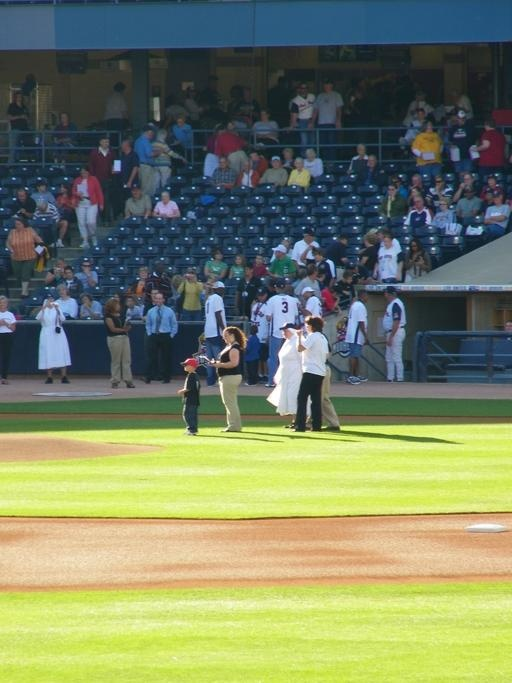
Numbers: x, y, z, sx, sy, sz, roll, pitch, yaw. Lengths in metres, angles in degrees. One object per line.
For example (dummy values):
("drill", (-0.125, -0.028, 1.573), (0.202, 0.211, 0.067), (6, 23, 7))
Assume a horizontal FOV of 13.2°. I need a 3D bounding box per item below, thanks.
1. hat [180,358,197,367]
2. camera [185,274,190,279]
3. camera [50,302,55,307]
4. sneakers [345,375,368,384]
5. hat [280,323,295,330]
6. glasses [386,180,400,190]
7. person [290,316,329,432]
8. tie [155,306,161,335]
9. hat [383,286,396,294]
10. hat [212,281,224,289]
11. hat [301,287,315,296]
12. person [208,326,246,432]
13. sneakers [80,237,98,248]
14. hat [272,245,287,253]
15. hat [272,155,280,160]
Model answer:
("hat", (-0.973, 0.319, 32.799), (0.199, 0.120, 0.141), (20, 25, 8))
("camera", (-1.230, -1.212, 40.669), (0.024, 0.092, 0.062), (-4, -1, -44))
("camera", (-3.626, -0.690, 40.005), (0.065, 0.069, 0.017), (13, -4, -19))
("sneakers", (1.801, 0.673, 39.932), (0.356, 0.169, 0.138), (0, 34, -6))
("hat", (0.503, -0.246, 33.407), (0.143, 0.083, 0.105), (3, 4, -4))
("glasses", (2.631, -3.022, 42.793), (0.153, 0.191, 0.198), (-3, -8, 7))
("person", (0.818, 0.513, 33.141), (0.467, 1.774, 0.684), (1, 13, 1))
("tie", (-1.704, -0.380, 39.475), (0.091, 0.424, 0.153), (2, 13, 9))
("hat", (2.396, -0.927, 39.645), (0.127, 0.100, 0.130), (6, 14, 13))
("hat", (-0.668, -1.036, 39.836), (0.123, 0.095, 0.174), (1, -3, -32))
("hat", (0.882, -0.878, 37.896), (0.187, 0.086, 0.150), (-11, -2, 9))
("person", (-0.404, 0.588, 33.417), (0.476, 1.664, 1.086), (0, 13, 0))
("sneakers", (-3.303, -2.007, 44.713), (0.418, 0.186, 0.142), (-4, 15, -27))
("hat", (0.429, -1.687, 40.566), (0.196, 0.101, 0.143), (22, 32, 12))
("hat", (0.413, -3.743, 45.252), (0.174, 0.104, 0.242), (1, 4, 2))
